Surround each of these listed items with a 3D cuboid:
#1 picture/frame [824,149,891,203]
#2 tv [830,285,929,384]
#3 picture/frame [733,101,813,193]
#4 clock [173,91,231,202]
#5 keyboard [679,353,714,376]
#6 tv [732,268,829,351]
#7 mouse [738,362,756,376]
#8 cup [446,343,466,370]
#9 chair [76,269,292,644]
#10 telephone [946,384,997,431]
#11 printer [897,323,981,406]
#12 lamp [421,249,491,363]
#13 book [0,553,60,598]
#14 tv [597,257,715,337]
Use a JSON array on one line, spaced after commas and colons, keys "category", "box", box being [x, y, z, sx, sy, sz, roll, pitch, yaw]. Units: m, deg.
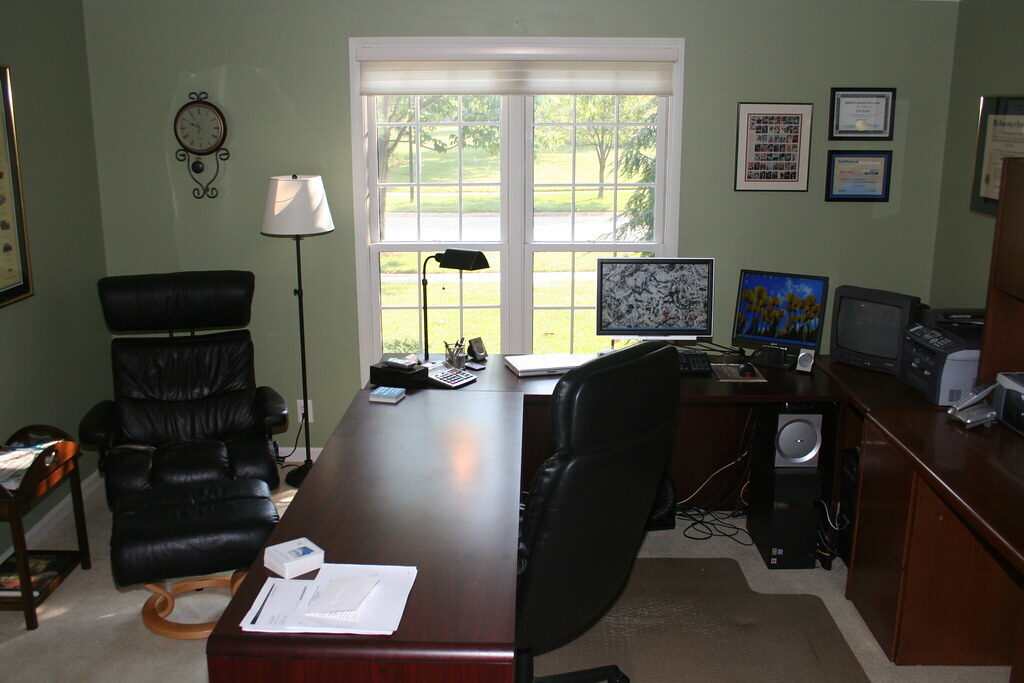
[{"category": "picture/frame", "box": [2.332, -1.120, 5.232, 0.367, 0.340, 0.035, 7, 33, 28]}, {"category": "tv", "box": [2.167, -0.112, 4.568, 0.347, 0.480, 0.438, -25, 30, -33]}, {"category": "picture/frame", "box": [1.746, -1.335, 5.191, 0.542, 0.627, 0.029, 0, 11, 0]}, {"category": "clock", "box": [-2.085, -1.328, 5.245, 0.373, 0.708, 0.080, 0, 12, 9]}, {"category": "keyboard", "box": [1.077, 0.123, 4.570, 0.186, 0.057, 0.176, 0, 19, 1]}, {"category": "tv", "box": [1.604, -0.188, 4.661, 0.500, 0.481, 0.072, 6, 6, 25]}, {"category": "mouse", "box": [1.364, 0.151, 4.491, 0.062, 0.068, 0.088, -1, -5, 9]}, {"category": "cup", "box": [-0.332, 0.086, 4.675, 0.146, 0.225, 0.141, 0, -3, 0]}, {"category": "chair", "box": [-1.893, 0.612, 4.536, 1.125, 1.897, 1.691, -3, 12, -24]}, {"category": "telephone", "box": [2.308, 0.292, 3.852, 0.273, 0.135, 0.176, -21, 20, -6]}, {"category": "printer", "box": [2.226, 0.107, 4.098, 0.349, 0.276, 0.350, 0, 15, 2]}, {"category": "lamp", "box": [-0.360, -0.234, 4.898, 0.424, 0.768, 1.045, -3, 12, -7]}, {"category": "book", "box": [-2.593, 1.264, 4.192, 0.206, 0.050, 0.206, 2, 10, -12]}, {"category": "tv", "box": [0.867, -0.264, 4.729, 0.684, 0.498, 0.188, 0, -4, 7]}]
